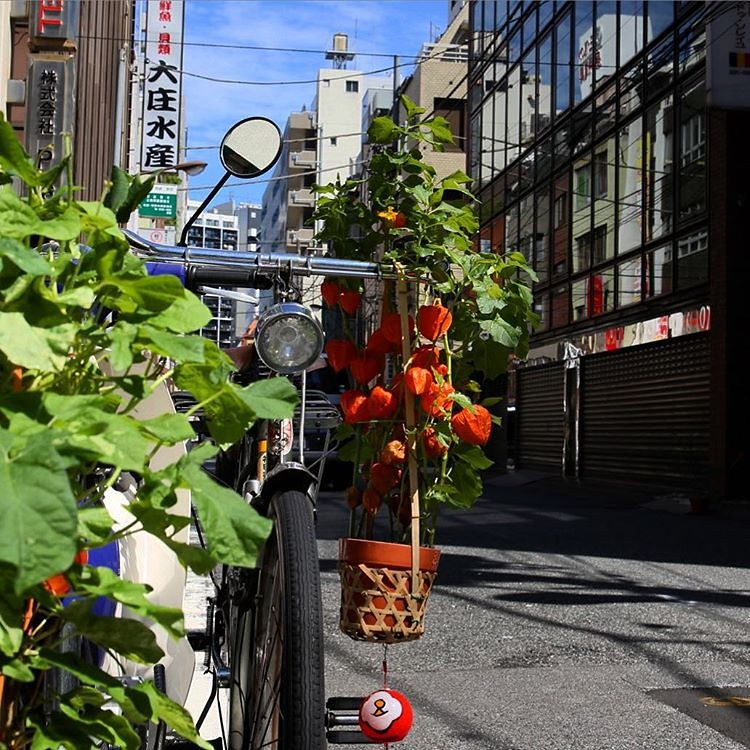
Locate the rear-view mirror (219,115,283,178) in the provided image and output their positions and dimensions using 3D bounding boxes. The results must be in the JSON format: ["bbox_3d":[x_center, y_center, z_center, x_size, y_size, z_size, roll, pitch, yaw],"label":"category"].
[{"bbox_3d":[-0.328,-0.605,3.376,0.171,0.168,0.168,3,0,-10],"label":"rear-view mirror"}]

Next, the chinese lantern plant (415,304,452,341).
[{"bbox_3d":[0.150,-0.136,3.232,0.084,0.091,0.093,1,-11,-5],"label":"chinese lantern plant"}]

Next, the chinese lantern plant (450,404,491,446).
[{"bbox_3d":[0.239,0.128,3.203,0.093,0.098,0.090,3,0,10],"label":"chinese lantern plant"}]

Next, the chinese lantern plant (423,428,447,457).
[{"bbox_3d":[0.145,0.172,3.244,0.065,0.077,0.065,-2,-4,-5],"label":"chinese lantern plant"}]

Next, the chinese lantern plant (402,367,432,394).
[{"bbox_3d":[0.106,0.016,3.183,0.065,0.064,0.064,0,-3,-5],"label":"chinese lantern plant"}]

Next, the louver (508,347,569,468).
[{"bbox_3d":[3.123,0.794,23.763,0.540,1.788,0.816,-2,4,-14],"label":"louver"}]

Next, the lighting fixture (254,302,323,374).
[{"bbox_3d":[-0.230,-0.094,3.271,0.144,0.191,0.186,-1,1,-17],"label":"lighting fixture"}]

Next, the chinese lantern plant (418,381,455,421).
[{"bbox_3d":[0.158,0.067,3.215,0.072,0.090,0.089,1,-3,-4],"label":"chinese lantern plant"}]
